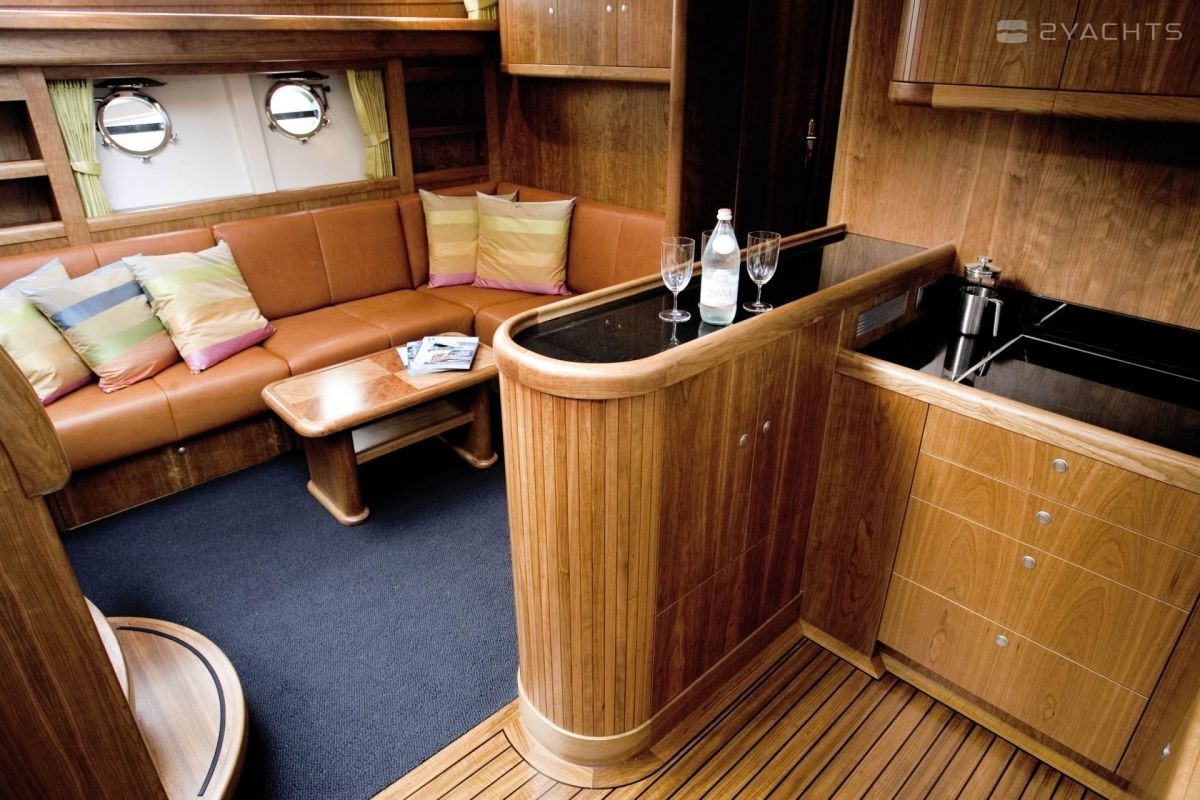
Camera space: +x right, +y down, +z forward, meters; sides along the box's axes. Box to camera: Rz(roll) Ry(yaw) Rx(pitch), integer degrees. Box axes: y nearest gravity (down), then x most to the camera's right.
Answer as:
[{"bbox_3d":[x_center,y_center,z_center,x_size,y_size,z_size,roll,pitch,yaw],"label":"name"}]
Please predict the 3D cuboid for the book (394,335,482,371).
[{"bbox_3d":[-0.802,-0.225,4.067,0.248,0.063,0.263,-3,27,-6],"label":"book"}]

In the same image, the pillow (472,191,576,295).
[{"bbox_3d":[-0.463,-0.932,4.928,0.709,0.668,0.252,7,14,7],"label":"pillow"}]

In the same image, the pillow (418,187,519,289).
[{"bbox_3d":[-0.942,-1.011,5.146,0.221,0.578,0.621,1,13,23],"label":"pillow"}]
